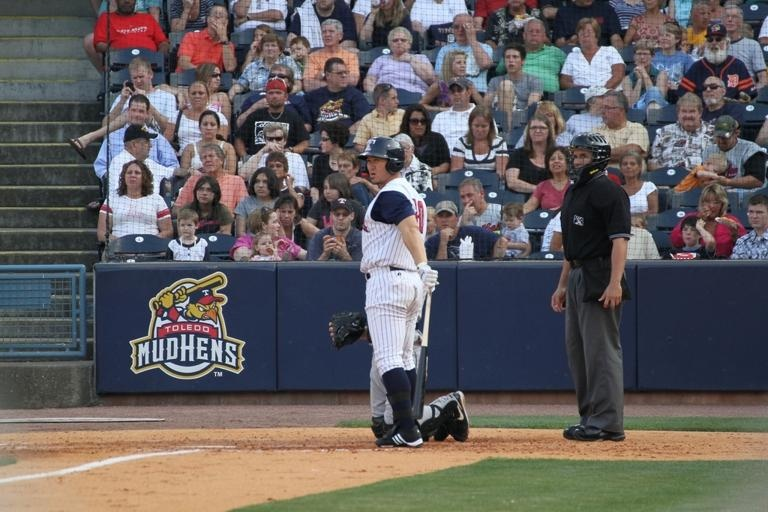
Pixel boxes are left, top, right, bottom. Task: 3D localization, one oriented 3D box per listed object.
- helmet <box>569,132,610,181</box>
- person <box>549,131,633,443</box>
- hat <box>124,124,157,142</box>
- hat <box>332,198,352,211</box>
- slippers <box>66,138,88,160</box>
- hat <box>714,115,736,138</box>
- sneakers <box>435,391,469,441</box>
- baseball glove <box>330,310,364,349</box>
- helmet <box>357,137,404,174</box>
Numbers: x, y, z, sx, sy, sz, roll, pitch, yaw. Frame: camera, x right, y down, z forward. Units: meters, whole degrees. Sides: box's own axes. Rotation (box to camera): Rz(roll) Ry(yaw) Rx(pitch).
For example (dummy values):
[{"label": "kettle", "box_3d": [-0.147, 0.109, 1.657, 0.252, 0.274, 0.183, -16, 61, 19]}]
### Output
[{"label": "helmet", "box_3d": [2.163, -1.028, 18.700, 0.502, 0.431, 0.404, 2, -4, -26]}, {"label": "person", "box_3d": [2.171, 0.313, 18.685, 0.762, 2.249, 0.233, -3, -2, 24]}, {"label": "hat", "box_3d": [-2.817, -1.423, 21.038, 0.299, 0.142, 0.183, -3, 8, -24]}, {"label": "hat", "box_3d": [-0.457, -0.584, 20.423, 0.234, 0.149, 0.124, -2, -2, -18]}, {"label": "slippers", "box_3d": [-3.776, -1.337, 22.566, 0.206, 0.261, 0.595, -2, -1, -10]}, {"label": "hat", "box_3d": [4.021, -1.525, 21.405, 0.280, 0.198, 0.184, -3, -1, 10]}, {"label": "sneakers", "box_3d": [0.732, 1.618, 18.741, 0.308, 0.640, 0.218, -1, 34, 3]}, {"label": "baseball glove", "box_3d": [-0.351, 0.777, 18.755, 0.362, 0.339, 0.151, -16, -30, 18]}, {"label": "helmet", "box_3d": [-0.046, -1.031, 18.629, 0.414, 0.291, 0.341, -12, 14, -19]}]
